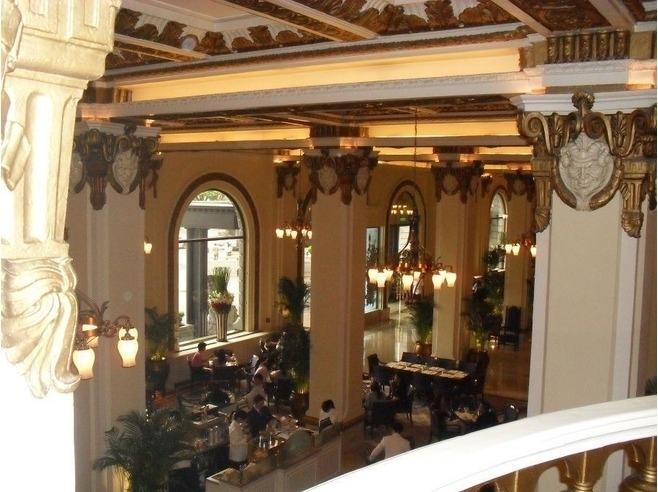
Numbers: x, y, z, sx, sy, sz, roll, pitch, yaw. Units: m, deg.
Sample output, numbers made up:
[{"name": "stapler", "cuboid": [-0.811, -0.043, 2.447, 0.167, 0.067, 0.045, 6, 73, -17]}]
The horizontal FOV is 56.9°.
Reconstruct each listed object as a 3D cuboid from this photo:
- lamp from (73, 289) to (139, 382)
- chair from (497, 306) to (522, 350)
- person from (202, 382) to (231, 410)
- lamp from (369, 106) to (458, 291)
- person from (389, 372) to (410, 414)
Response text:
[{"name": "lamp", "cuboid": [-2.128, 0.795, 5.685, 0.682, 0.760, 0.881, 0, 2, -16]}, {"name": "chair", "cuboid": [5.468, 2.373, 18.170, 0.630, 1.109, 2.339, 7, 4, 18]}, {"name": "person", "cuboid": [-2.168, 2.919, 11.749, 0.409, 0.767, 0.253, 0, 5, 0]}, {"name": "lamp", "cuboid": [1.391, -0.929, 10.021, 1.376, 3.420, 1.424, 3, -3, -9]}, {"name": "person", "cuboid": [1.314, 2.754, 11.064, 0.408, 0.573, 0.791, 7, 3, 7]}]
